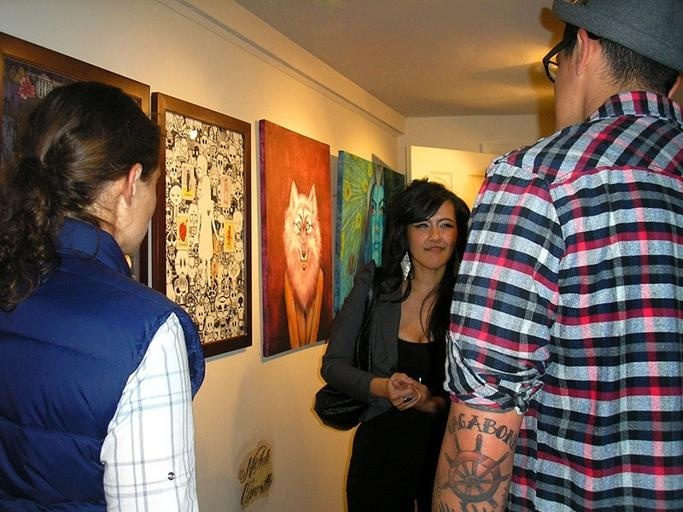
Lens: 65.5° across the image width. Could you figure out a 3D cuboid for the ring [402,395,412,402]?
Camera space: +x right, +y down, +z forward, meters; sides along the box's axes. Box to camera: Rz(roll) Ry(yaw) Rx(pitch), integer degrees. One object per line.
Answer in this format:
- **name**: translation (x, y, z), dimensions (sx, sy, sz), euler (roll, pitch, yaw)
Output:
- **ring**: translation (0.251, 0.545, 2.032), dimensions (0.035, 0.021, 0.010), euler (1, -7, 8)
